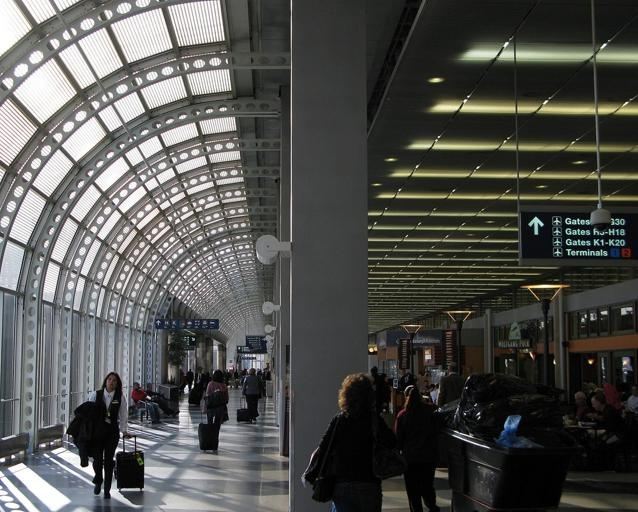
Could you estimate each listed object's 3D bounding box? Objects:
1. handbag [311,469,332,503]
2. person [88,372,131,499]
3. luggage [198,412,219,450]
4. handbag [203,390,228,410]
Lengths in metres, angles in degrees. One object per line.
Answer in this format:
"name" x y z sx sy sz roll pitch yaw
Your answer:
"handbag" 0.021 1.662 3.671 0.176 0.183 0.078 -4 -14 33
"person" -3.976 3.297 9.536 0.620 2.191 0.683 5 -11 -6
"luggage" -3.358 5.259 15.351 0.657 1.026 0.612 -2 -11 0
"handbag" -3.235 4.499 16.041 0.669 0.547 0.244 -7 4 -6
